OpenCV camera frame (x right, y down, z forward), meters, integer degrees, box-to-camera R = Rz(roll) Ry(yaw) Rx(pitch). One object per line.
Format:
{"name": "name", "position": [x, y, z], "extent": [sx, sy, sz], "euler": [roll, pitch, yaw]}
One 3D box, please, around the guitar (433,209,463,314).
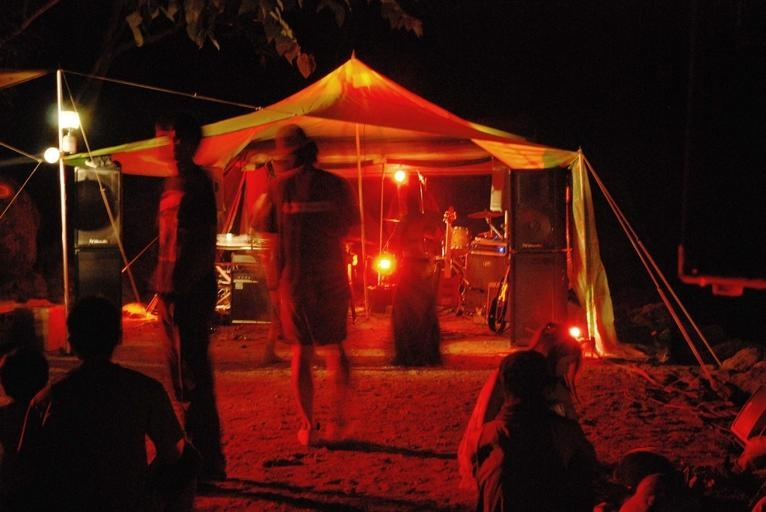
{"name": "guitar", "position": [1.160, -0.166, 11.763], "extent": [0.349, 1.072, 0.374], "euler": [4, 7, 33]}

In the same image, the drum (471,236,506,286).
{"name": "drum", "position": [1.640, 0.096, 10.953], "extent": [0.586, 0.818, 1.129], "euler": [1, 4, 11]}

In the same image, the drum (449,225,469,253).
{"name": "drum", "position": [1.276, -0.300, 11.566], "extent": [0.358, 0.364, 0.363], "euler": [2, -8, -2]}

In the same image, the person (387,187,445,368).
{"name": "person", "position": [0.394, 0.278, 8.112], "extent": [0.566, 2.085, 0.363], "euler": [1, 8, 9]}

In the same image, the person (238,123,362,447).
{"name": "person", "position": [-0.643, 0.269, 5.881], "extent": [0.815, 2.744, 0.373], "euler": [-1, 8, -8]}
